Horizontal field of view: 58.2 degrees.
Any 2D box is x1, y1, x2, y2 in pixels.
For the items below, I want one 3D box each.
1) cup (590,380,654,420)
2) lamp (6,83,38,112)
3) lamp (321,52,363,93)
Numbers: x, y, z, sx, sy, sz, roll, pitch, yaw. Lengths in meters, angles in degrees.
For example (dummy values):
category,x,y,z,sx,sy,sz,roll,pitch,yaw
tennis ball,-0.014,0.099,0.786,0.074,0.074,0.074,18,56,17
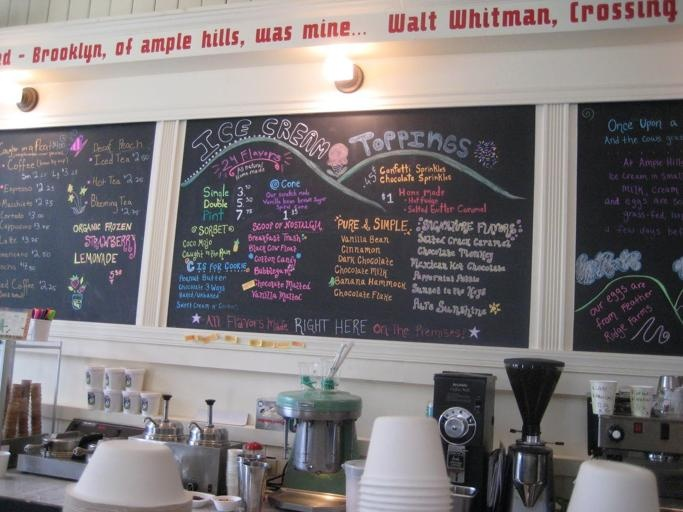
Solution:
category,x,y,z,sx,sy,sz,roll,pitch,yaw
cup,1.191,0.597,2.590,0.234,0.141,0.253,2,-9,0
lamp,-1.957,-0.972,3.736,0.144,0.144,0.035,20,18,15
lamp,0.023,-0.970,3.232,0.141,0.193,0.194,-2,-24,11
